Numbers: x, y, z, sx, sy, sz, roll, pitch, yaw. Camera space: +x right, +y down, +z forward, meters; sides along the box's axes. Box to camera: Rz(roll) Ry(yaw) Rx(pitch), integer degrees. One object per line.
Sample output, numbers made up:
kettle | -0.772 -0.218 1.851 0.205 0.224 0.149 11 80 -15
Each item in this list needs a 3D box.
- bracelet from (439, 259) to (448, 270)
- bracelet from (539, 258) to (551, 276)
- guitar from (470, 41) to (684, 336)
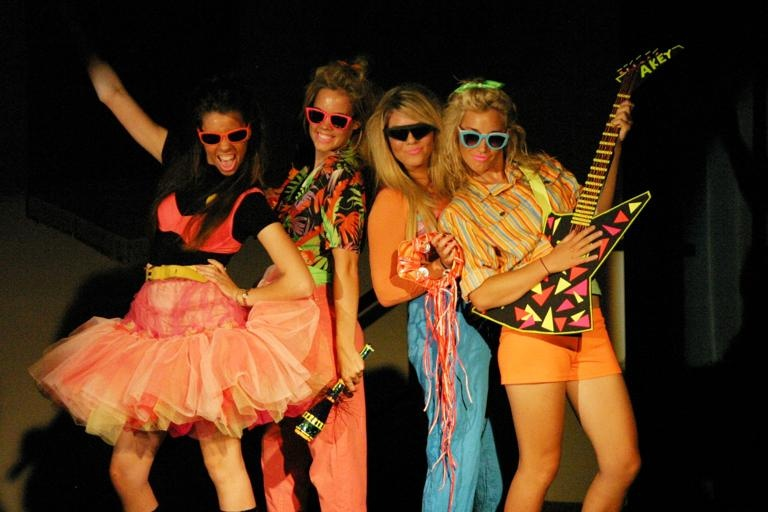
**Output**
bracelet | 0.278 0.044 3.362 0.009 0.035 0.033 -14 15 -23
bracelet | 0.723 0.051 3.239 0.015 0.065 0.049 -31 17 -13
guitar | 0.902 -0.084 3.296 0.603 1.746 0.167 18 -14 32
